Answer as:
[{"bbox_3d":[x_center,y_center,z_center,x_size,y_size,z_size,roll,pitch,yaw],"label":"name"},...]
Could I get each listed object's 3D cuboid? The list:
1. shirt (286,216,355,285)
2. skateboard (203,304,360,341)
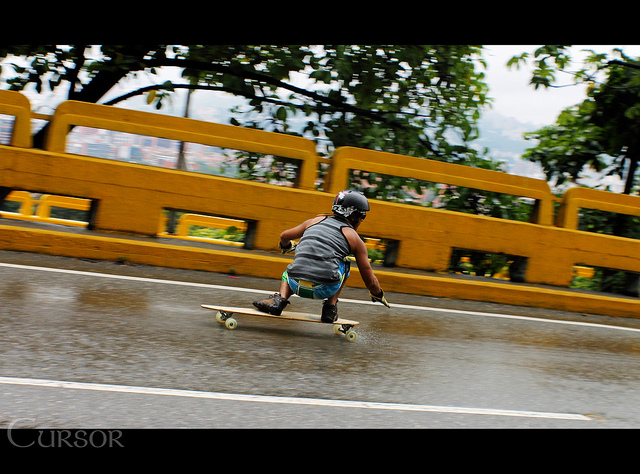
[{"bbox_3d":[0.029,0.126,8.936,0.572,0.742,0.282,12,1,9],"label":"shirt"},{"bbox_3d":[-0.385,0.856,8.982,2.429,0.194,0.472,6,0,-11],"label":"skateboard"}]
